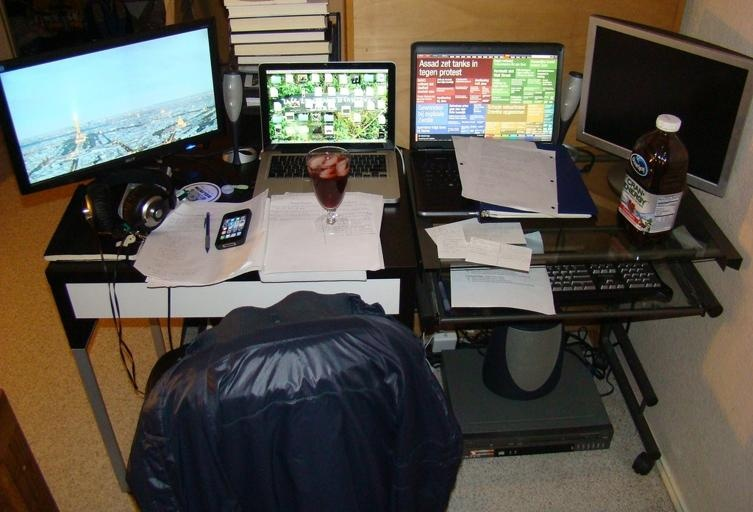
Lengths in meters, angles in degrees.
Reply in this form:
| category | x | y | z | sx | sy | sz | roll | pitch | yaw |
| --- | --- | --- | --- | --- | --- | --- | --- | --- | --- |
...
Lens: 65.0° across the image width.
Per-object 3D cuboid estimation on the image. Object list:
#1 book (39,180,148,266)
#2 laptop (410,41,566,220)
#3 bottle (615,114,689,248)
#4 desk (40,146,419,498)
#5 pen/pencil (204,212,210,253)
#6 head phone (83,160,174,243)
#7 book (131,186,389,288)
| category | x | y | z | sx | sy | sz | roll | pitch | yaw |
| --- | --- | --- | --- | --- | --- | --- | --- | --- | --- |
| book | -0.891 | -0.083 | 1.824 | 0.263 | 0.069 | 0.298 | 0 | 58 | -1 |
| laptop | 0.398 | -0.454 | 2.351 | 0.652 | 0.532 | 0.584 | 0 | 57 | 1 |
| bottle | 0.879 | -0.219 | 1.880 | 0.167 | 0.312 | 0.187 | -9 | 34 | -12 |
| desk | -0.495 | 0.266 | 2.350 | 1.071 | 1.058 | 0.818 | -3 | 47 | -6 |
| pen/pencil | -0.544 | -0.067 | 1.898 | 0.022 | 0.023 | 0.145 | -10 | 43 | -11 |
| head phone | -0.784 | -0.222 | 1.886 | 0.223 | 0.107 | 0.278 | 4 | 60 | 5 |
| book | -0.347 | -0.044 | 1.881 | 0.561 | 0.083 | 0.374 | -2 | 51 | 4 |
